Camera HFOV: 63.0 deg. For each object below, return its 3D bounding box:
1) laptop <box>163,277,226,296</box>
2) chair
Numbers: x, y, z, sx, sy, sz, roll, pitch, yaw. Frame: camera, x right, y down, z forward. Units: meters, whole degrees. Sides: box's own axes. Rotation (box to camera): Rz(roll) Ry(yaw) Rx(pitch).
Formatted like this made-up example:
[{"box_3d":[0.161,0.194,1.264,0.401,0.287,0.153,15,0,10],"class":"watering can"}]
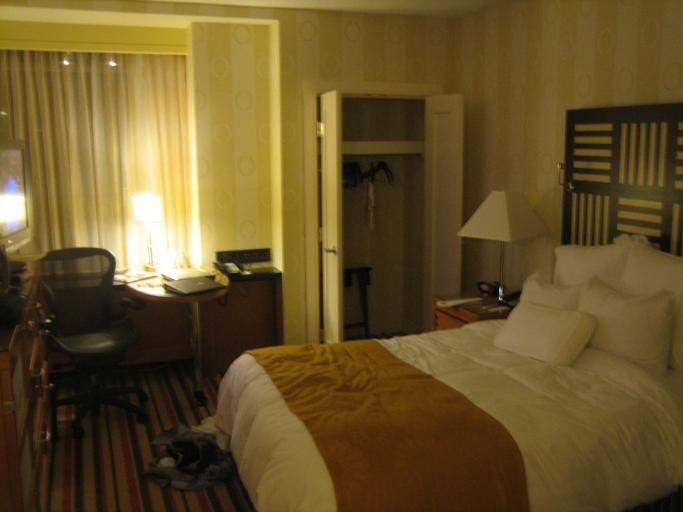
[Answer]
[{"box_3d":[-1.158,0.221,4.399,0.472,0.086,0.372,-6,11,-15],"class":"laptop"},{"box_3d":[-1.946,0.551,4.348,0.705,1.270,1.145,-9,12,-29],"class":"chair"}]
